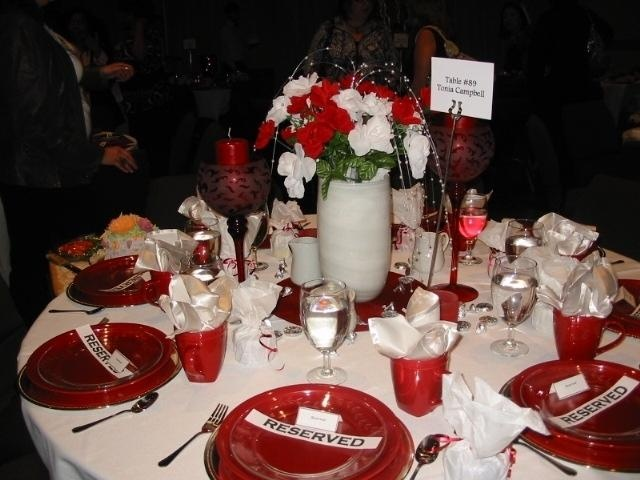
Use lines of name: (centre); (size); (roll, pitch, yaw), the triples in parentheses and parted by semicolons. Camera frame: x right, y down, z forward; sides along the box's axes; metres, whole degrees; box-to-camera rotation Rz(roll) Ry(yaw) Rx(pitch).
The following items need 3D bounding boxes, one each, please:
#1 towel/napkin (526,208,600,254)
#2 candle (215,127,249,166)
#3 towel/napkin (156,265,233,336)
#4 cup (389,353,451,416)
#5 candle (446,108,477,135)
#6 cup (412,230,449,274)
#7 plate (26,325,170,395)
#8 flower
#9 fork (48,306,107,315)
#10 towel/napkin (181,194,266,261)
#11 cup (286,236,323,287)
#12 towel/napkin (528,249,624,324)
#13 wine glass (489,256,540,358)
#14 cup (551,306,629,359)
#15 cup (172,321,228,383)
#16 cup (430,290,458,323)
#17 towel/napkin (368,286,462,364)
towel/napkin: (0.765, -0.009, 1.450); (0.138, 0.063, 0.153); (-31, 39, -16)
candle: (-0.293, -0.295, 1.515); (0.107, 0.125, 0.109); (16, 33, 20)
towel/napkin: (-0.309, 0.140, 1.106); (0.144, 0.067, 0.143); (3, 42, 19)
cup: (0.214, 0.303, 1.064); (0.103, 0.118, 0.153); (-9, 12, -29)
candle: (0.452, -0.370, 1.463); (0.102, 0.059, 0.103); (5, 18, 14)
cup: (0.421, 0.039, 1.762); (0.163, 0.161, 0.122); (-4, 10, -26)
plate: (-0.595, 0.308, 1.206); (0.204, 0.036, 0.209); (11, 19, 17)
flower: (0.088, -0.339, 1.418); (0.498, 0.378, 0.460); (8, 19, 24)
fork: (-0.778, 0.224, 1.481); (0.140, 0.021, 0.024); (0, 14, 5)
towel/napkin: (-0.367, -0.075, 1.735); (0.246, 0.255, 0.245); (-17, 29, -32)
cup: (-0.050, 0.063, 1.567); (0.160, 0.161, 0.100); (14, 22, 37)
towel/napkin: (0.647, 0.118, 1.147); (0.174, 0.085, 0.187); (0, 44, 5)
wine glass: (0.533, 0.179, 1.246); (0.130, 0.303, 0.141); (13, 29, 35)
cup: (0.695, 0.231, 1.219); (0.168, 0.128, 0.111); (1, 7, 6)
cup: (-0.283, 0.263, 1.198); (0.102, 0.142, 0.157); (14, 21, 39)
cup: (0.349, 0.176, 1.291); (0.099, 0.075, 0.076); (-4, 7, -36)
towel/napkin: (0.209, 0.160, 1.004); (0.156, 0.081, 0.171); (-6, 3, 25)
